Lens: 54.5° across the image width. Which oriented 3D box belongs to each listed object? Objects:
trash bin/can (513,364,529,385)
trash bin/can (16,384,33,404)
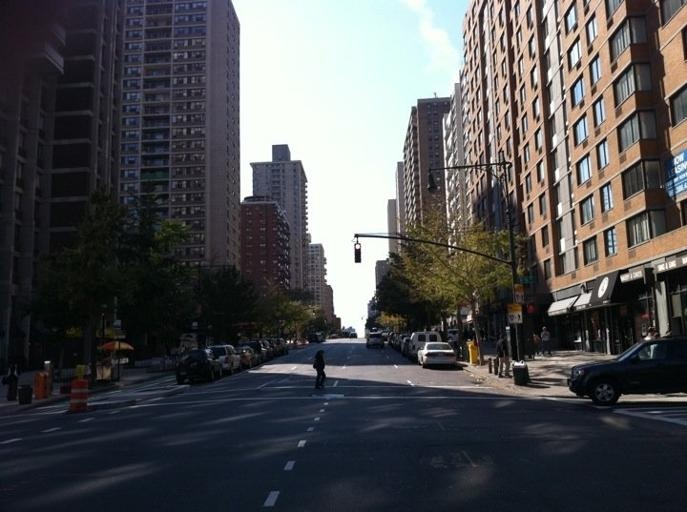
[{"bbox_3d":[7.538,5.040,28.394,0.600,0.918,0.604,-5,-11,11],"label":"trash bin/can"},{"bbox_3d":[-13.102,5.709,27.577,0.653,0.990,0.608,4,-19,-35],"label":"trash bin/can"}]
